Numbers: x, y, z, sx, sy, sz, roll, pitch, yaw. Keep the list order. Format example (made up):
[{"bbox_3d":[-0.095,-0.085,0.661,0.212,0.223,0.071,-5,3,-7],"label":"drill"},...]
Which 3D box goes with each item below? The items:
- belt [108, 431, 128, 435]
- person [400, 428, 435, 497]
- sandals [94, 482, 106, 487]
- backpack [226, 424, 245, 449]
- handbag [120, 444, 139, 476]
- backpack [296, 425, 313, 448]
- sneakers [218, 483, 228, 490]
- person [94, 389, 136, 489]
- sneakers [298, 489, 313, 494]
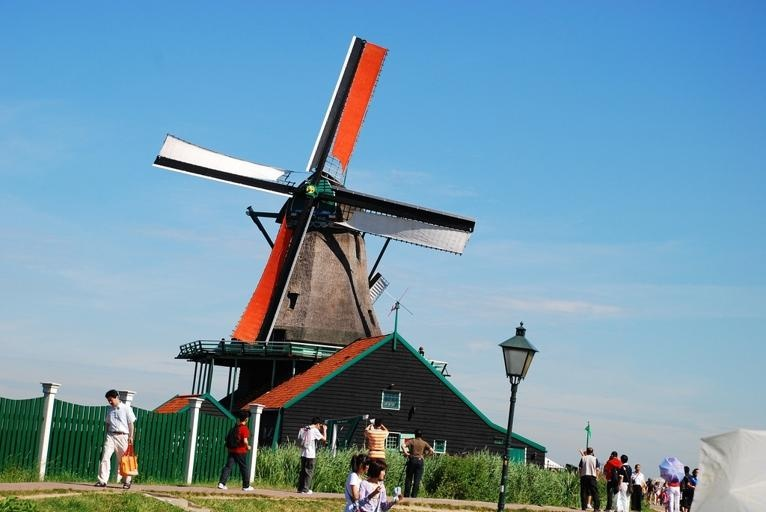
[{"bbox_3d":[-6.595,4.421,25.877,0.491,0.105,0.115,6,-11,-11],"label":"belt"},{"bbox_3d":[0.931,6.251,31.297,0.874,2.017,1.175,6,-12,-2],"label":"person"},{"bbox_3d":[-7.176,5.814,26.456,0.368,0.134,0.154,18,-20,-38],"label":"sandals"},{"bbox_3d":[-4.041,4.943,28.556,0.459,0.665,0.281,-3,-15,37],"label":"backpack"},{"bbox_3d":[-6.310,5.076,25.876,0.429,0.789,0.670,8,-12,-11],"label":"handbag"},{"bbox_3d":[-2.310,5.256,30.273,0.277,0.617,0.641,10,-12,-20],"label":"backpack"},{"bbox_3d":[-4.453,6.399,28.935,0.134,0.125,0.318,-1,-5,20],"label":"sneakers"},{"bbox_3d":[-6.684,4.565,26.063,0.776,2.333,1.222,9,-12,-13],"label":"person"},{"bbox_3d":[-2.247,6.831,30.051,0.389,0.136,0.121,-7,4,0],"label":"sneakers"}]
